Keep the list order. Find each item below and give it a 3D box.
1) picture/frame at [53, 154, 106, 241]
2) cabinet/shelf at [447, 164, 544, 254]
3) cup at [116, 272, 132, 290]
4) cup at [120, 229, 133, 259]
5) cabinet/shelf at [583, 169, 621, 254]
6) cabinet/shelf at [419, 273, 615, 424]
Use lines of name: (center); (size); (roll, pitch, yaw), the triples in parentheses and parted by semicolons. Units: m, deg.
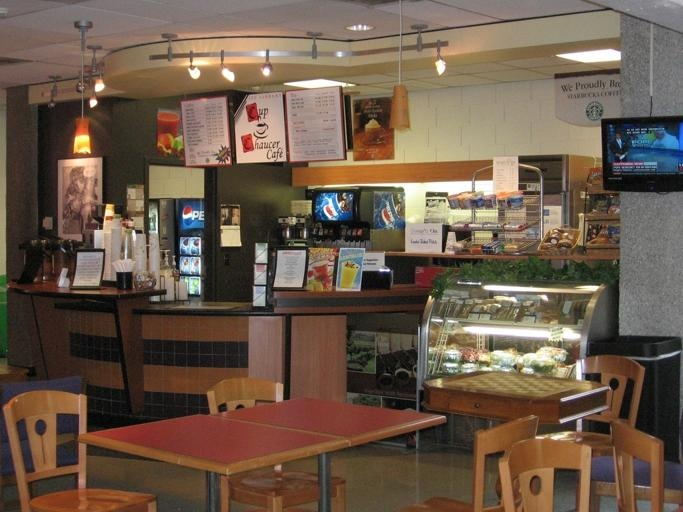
picture/frame: (-3.738, -0.805, 9.309); (0.955, 1.147, 0.012); (3, 4, 30)
cabinet/shelf: (1.849, -0.577, 7.980); (1.169, 1.188, 2.478); (0, 5, 14)
cup: (-2.296, 0.264, 6.885); (0.194, 0.176, 0.169); (0, 3, -17)
cup: (-2.474, -0.153, 7.482); (0.143, 0.323, 0.124); (-4, 5, -28)
cabinet/shelf: (2.762, -0.533, 6.901); (0.370, 0.857, 2.447); (1, 5, 21)
cabinet/shelf: (1.610, 0.794, 5.756); (0.917, 1.105, 1.729); (-3, -1, -40)
